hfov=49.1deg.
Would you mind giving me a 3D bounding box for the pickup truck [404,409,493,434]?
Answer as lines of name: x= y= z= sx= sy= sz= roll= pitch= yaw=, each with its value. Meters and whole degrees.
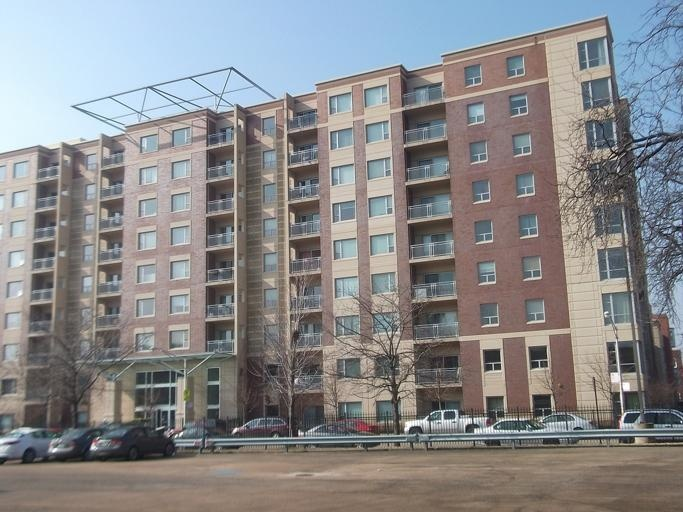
pickup truck: x=6.737 y=10.471 z=48.281 sx=5.229 sy=1.603 sz=2.305 roll=-2 pitch=-26 yaw=7
